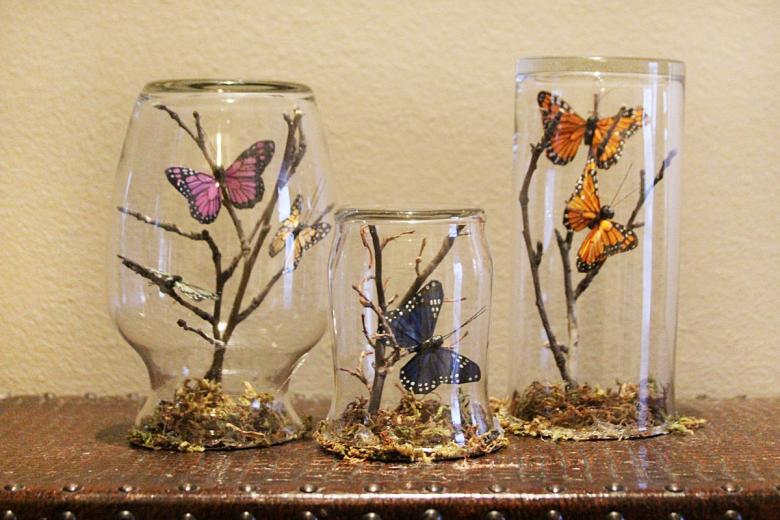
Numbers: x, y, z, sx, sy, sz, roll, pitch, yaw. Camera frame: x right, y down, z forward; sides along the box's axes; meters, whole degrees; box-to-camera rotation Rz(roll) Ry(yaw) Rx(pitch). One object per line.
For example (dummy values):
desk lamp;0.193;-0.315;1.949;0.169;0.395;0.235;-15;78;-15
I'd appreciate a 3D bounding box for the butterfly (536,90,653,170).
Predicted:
butterfly;0.288;-0.188;1.547;0.130;0.112;0.127;-1;10;-6

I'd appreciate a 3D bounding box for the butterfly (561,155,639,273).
butterfly;0.303;-0.061;1.540;0.105;0.156;0.041;4;17;9

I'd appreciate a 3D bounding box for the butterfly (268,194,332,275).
butterfly;-0.130;-0.037;1.506;0.095;0.099;0.035;33;-18;-14
